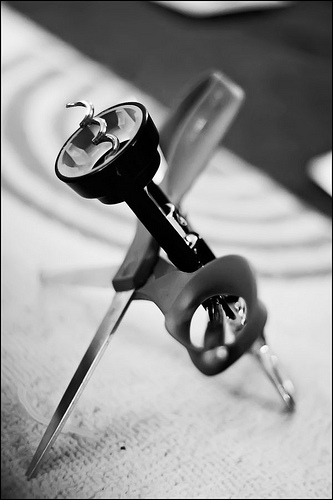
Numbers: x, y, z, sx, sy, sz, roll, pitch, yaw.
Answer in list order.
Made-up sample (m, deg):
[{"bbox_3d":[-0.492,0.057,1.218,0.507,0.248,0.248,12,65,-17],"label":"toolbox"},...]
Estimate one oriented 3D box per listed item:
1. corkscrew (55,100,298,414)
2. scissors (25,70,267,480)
[{"bbox_3d":[0.001,-0.001,0.386,0.115,0.211,0.130,-10,31,-16],"label":"corkscrew"},{"bbox_3d":[-0.014,0.019,0.526,0.300,0.352,0.298,-2,78,22],"label":"scissors"}]
